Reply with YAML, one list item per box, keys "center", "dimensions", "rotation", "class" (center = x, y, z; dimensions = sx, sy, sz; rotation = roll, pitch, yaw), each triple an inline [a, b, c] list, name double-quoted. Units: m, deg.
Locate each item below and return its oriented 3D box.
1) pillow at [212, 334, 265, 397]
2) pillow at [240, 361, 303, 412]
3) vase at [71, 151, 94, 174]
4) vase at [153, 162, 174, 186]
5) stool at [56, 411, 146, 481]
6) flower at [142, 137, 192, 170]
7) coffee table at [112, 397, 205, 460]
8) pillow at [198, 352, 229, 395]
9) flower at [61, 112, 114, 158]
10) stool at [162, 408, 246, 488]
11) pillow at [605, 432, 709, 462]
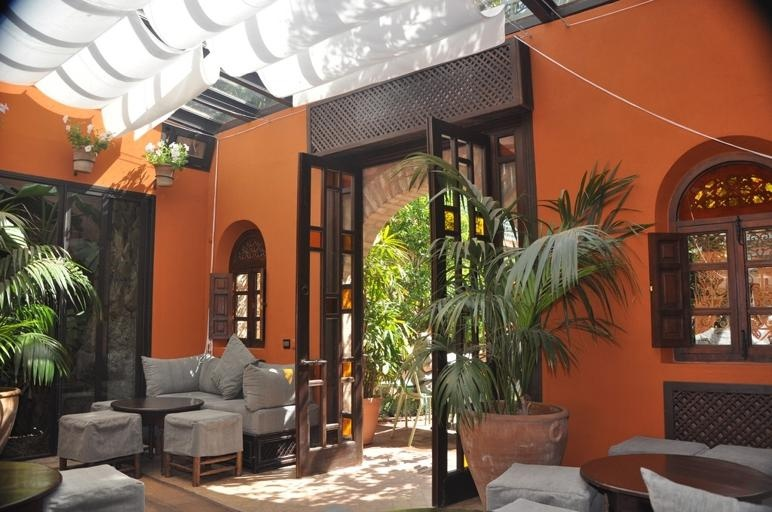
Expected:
- center: [-1.923, 1.417, 7.505]
  dimensions: [0.201, 0.681, 0.641]
  rotation: [18, 25, -22]
  class: "pillow"
- center: [-1.337, 1.533, 6.745]
  dimensions: [0.213, 0.397, 0.588]
  rotation: [1, -10, 35]
  class: "pillow"
- center: [-3.984, -1.196, 7.590]
  dimensions: [0.266, 0.212, 0.267]
  rotation: [2, -5, -36]
  class: "vase"
- center: [-3.201, -1.155, 8.272]
  dimensions: [0.276, 0.223, 0.286]
  rotation: [-1, -6, 0]
  class: "vase"
- center: [-3.163, 1.966, 6.265]
  dimensions: [0.739, 0.679, 0.748]
  rotation: [-10, -17, 32]
  class: "stool"
- center: [-3.147, -1.435, 8.232]
  dimensions: [0.469, 0.278, 0.453]
  rotation: [3, -1, 4]
  class: "flower"
- center: [-2.663, 1.917, 6.795]
  dimensions: [0.922, 0.616, 0.869]
  rotation: [-3, -5, 43]
  class: "coffee table"
- center: [-2.369, 1.613, 7.747]
  dimensions: [0.168, 0.459, 0.434]
  rotation: [10, -13, -42]
  class: "pillow"
- center: [-3.982, -1.564, 7.610]
  dimensions: [0.647, 0.423, 0.498]
  rotation: [11, -4, 40]
  class: "flower"
- center: [-1.989, 2.064, 6.475]
  dimensions: [0.751, 0.770, 0.774]
  rotation: [-5, -11, 25]
  class: "stool"
- center: [2.358, 1.638, 4.971]
  dimensions: [0.403, 0.099, 0.396]
  rotation: [-2, -5, 31]
  class: "pillow"
